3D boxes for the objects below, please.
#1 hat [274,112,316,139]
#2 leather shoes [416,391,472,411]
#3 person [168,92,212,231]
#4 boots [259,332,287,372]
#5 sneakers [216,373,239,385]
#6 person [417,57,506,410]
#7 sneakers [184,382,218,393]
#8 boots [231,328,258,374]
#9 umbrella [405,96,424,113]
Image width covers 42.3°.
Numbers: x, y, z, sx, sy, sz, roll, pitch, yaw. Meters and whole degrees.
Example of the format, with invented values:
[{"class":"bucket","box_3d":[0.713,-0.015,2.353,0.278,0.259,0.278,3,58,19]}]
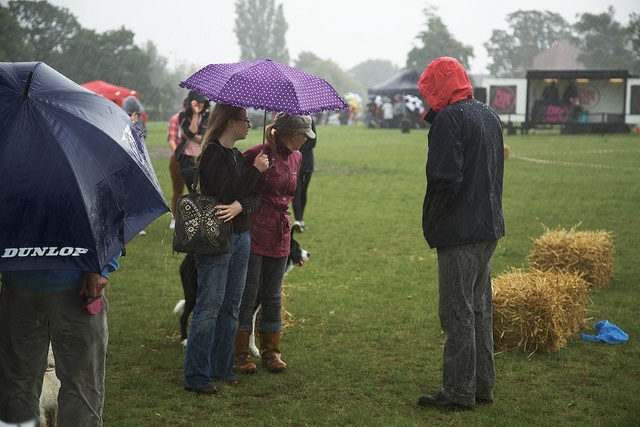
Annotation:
[{"class":"hat","box_3d":[-0.290,-1.032,9.642,0.358,0.196,0.253,1,16,-14]},{"class":"leather shoes","box_3d":[1.391,2.055,9.342,0.612,0.262,0.214,5,-2,20]},{"class":"person","box_3d":[-2.354,-0.942,13.779,0.796,2.608,0.757,5,28,-5]},{"class":"boots","box_3d":[-0.560,1.647,9.886,0.222,0.450,0.465,-1,7,-27]},{"class":"sneakers","box_3d":[-1.066,1.905,9.515,0.313,0.151,0.104,-3,0,12]},{"class":"person","box_3d":[1.567,0.214,9.255,0.962,3.868,0.683,4,8,12]},{"class":"sneakers","box_3d":[-1.356,1.988,9.379,0.346,0.151,0.120,-2,0,6]},{"class":"boots","box_3d":[-0.899,1.666,9.816,0.238,0.502,0.494,3,-5,-30]},{"class":"umbrella","box_3d":[4.531,-5.268,39.468,0.942,0.965,0.952,-1,0,-3]}]
